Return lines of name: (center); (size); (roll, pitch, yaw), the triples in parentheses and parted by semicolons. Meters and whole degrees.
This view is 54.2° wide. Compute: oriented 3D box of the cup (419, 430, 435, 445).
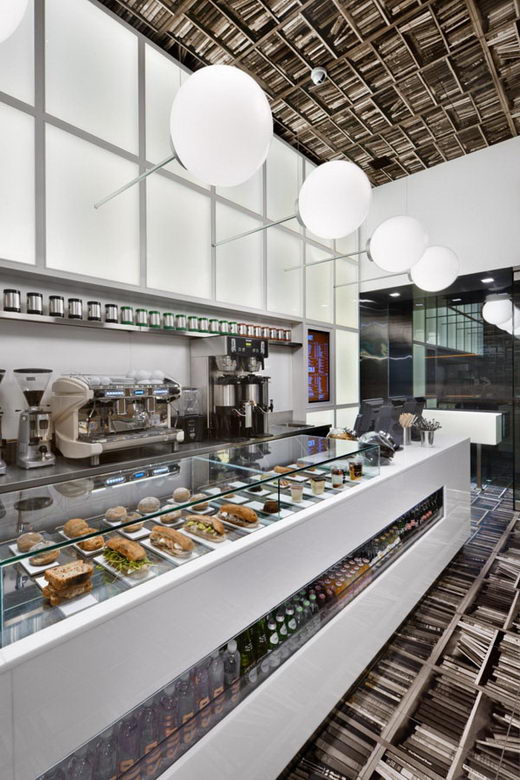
cup: (1.129, 0.318, 3.429); (0.080, 0.110, 0.106); (-1, -1, -7)

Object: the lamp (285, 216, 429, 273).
lamp: (0.653, -0.835, 3.092); (0.636, 0.262, 0.276); (-4, 19, 30)

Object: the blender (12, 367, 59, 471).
blender: (-1.262, 0.142, 2.858); (0.184, 0.532, 0.357); (-1, 5, -23)

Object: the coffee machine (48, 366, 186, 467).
coffee machine: (-0.897, 0.156, 3.183); (0.450, 0.513, 0.735); (3, 5, 31)

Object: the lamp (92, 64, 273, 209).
lamp: (-0.243, -0.906, 1.834); (0.545, 0.244, 0.229); (-9, -29, 41)

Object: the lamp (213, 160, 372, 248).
lamp: (0.189, -0.882, 2.600); (0.860, 0.391, 0.366); (-7, 2, 31)
